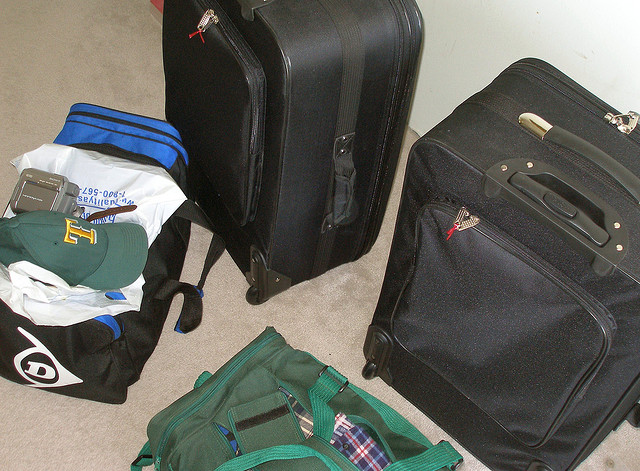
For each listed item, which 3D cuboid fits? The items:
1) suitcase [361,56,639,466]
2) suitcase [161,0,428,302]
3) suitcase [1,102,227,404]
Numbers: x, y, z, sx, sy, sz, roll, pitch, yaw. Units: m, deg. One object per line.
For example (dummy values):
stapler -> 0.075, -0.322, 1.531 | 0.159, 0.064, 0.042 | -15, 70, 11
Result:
suitcase -> 0.397, 0.068, 1.312 | 0.392, 0.746, 0.579 | -35, 63, -27
suitcase -> -0.073, -0.213, 1.479 | 0.329, 0.617, 0.457 | -20, 60, -24
suitcase -> -0.515, 0.079, 1.616 | 0.580, 0.790, 0.225 | 17, 18, 14
